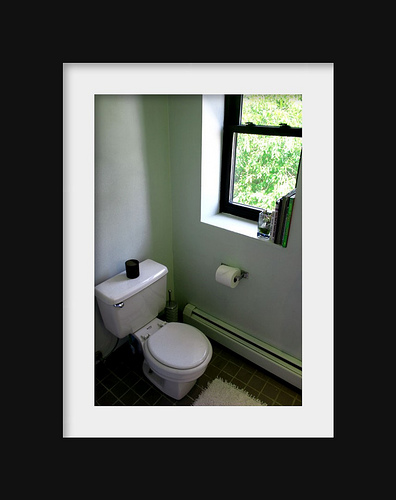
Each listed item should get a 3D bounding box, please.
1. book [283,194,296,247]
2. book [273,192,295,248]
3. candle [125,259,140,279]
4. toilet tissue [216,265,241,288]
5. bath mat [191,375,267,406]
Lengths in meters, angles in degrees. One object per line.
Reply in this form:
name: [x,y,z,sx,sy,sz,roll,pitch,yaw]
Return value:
book: [0.239,-0.075,1.058,0.017,0.106,0.082,6,-1,4]
book: [0.231,-0.081,1.062,0.018,0.141,0.060,-1,6,-32]
candle: [-0.207,0.059,1.249,0.041,0.059,0.052,1,38,-4]
toilet tissue: [0.086,0.067,1.143,0.048,0.070,0.064,8,-2,-39]
bath mat: [0.088,0.389,1.085,0.183,0.037,0.171,5,7,8]
